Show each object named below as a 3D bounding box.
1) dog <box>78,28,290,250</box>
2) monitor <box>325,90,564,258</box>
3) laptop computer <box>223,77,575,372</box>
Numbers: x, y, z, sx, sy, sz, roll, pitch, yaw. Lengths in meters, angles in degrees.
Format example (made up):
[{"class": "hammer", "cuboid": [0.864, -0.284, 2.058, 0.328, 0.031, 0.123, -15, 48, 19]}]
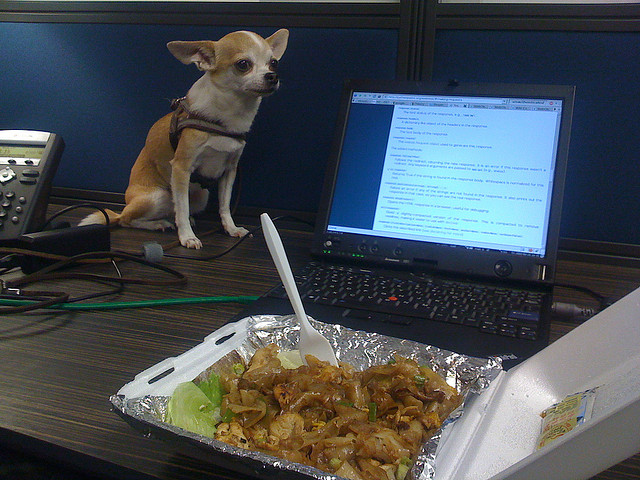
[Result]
[{"class": "dog", "cuboid": [-0.314, -0.255, 1.305, 0.462, 0.532, 0.410, -8, 27, -16]}, {"class": "monitor", "cuboid": [0.217, -0.126, 0.918, 0.485, 0.280, 0.211, 12, 45, 40]}, {"class": "laptop computer", "cuboid": [0.122, -0.101, 1.036, 0.714, 0.421, 0.613, 9, 20, 25]}]
